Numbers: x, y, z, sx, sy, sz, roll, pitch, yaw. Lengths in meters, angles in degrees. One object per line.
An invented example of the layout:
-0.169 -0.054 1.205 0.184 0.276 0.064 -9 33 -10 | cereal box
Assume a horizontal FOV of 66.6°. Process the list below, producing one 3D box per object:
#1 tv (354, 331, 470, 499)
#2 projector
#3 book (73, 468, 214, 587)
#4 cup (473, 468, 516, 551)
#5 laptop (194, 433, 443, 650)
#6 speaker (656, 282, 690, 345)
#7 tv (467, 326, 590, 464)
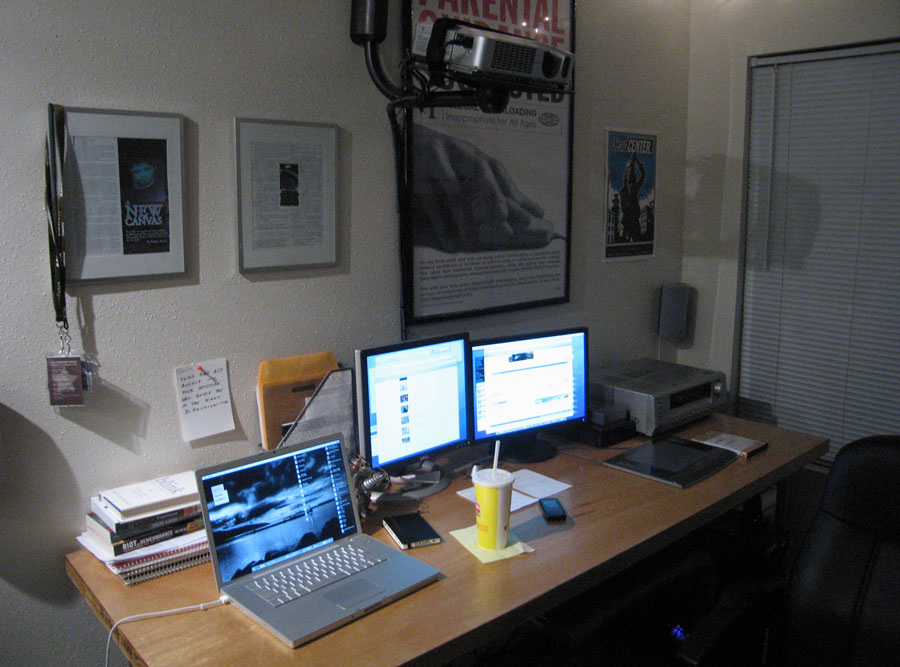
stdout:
-0.130 0.282 2.326 0.193 0.531 0.456 6 12 44 | tv
0.140 -0.914 2.249 0.546 0.200 0.409 -11 30 -43 | projector
-0.873 0.561 1.968 0.320 0.127 0.334 -6 13 -41 | book
0.143 0.522 2.045 0.126 0.233 0.131 0 1 0 | cup
-0.357 0.516 1.856 0.474 0.331 0.497 -8 8 -40 | laptop
1.114 -0.096 3.398 0.153 0.274 0.157 5 7 12 | speaker
0.298 0.242 2.588 0.434 0.410 0.182 -7 7 -31 | tv
